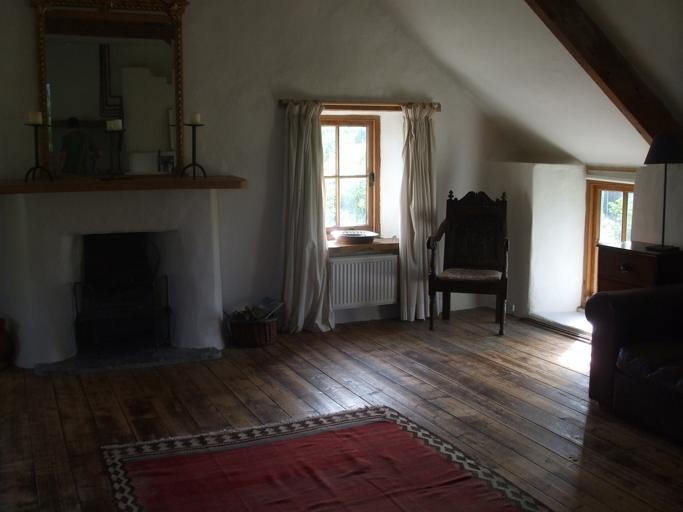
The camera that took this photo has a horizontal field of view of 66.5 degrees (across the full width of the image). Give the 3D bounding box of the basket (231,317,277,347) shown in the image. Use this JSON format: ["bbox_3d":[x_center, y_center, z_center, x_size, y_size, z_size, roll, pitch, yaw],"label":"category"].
[{"bbox_3d":[-0.782,0.670,4.613,0.408,0.249,0.194,0,9,-10],"label":"basket"}]

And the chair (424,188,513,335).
[{"bbox_3d":[1.238,0.032,5.140,0.780,1.311,0.698,4,9,17],"label":"chair"}]

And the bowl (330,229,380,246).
[{"bbox_3d":[0.139,-0.193,5.274,0.490,0.124,0.344,0,9,-8],"label":"bowl"}]

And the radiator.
[{"bbox_3d":[0.172,0.240,5.141,0.499,0.406,0.086,-3,8,-24],"label":"radiator"}]
